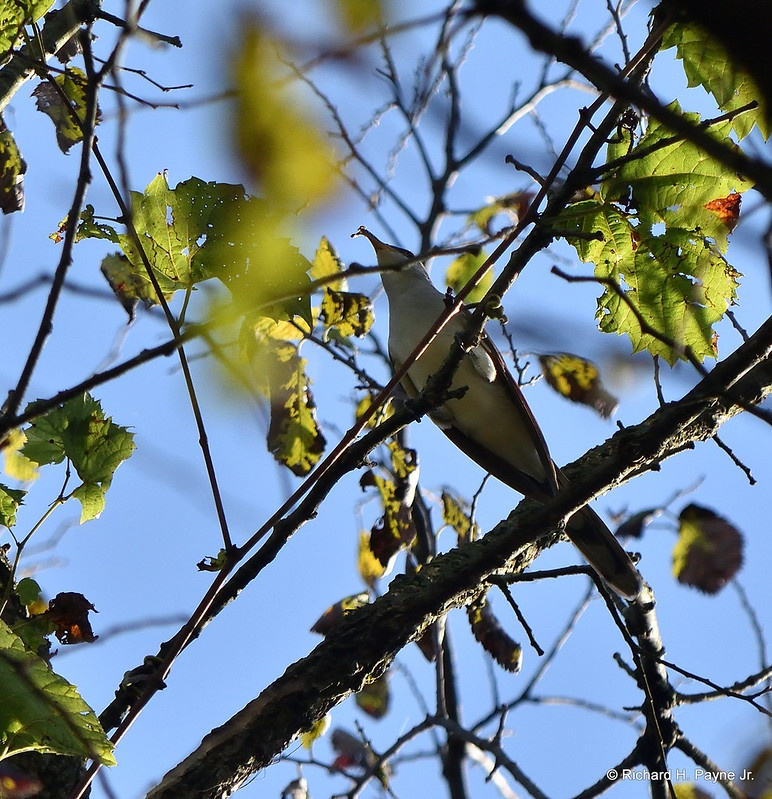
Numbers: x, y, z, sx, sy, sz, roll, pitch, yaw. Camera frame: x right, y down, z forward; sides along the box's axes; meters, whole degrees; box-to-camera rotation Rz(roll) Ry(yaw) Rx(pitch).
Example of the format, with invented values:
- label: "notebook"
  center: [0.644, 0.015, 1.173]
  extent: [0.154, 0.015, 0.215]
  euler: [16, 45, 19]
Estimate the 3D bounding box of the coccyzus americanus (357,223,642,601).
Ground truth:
- label: "coccyzus americanus"
  center: [0.350, 0.091, 4.643]
  extent: [1.276, 0.528, 0.298]
  euler: [50, -49, -3]
